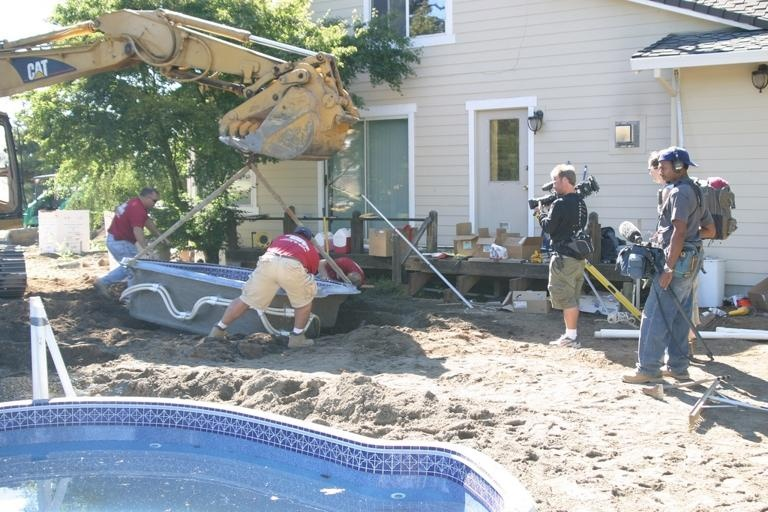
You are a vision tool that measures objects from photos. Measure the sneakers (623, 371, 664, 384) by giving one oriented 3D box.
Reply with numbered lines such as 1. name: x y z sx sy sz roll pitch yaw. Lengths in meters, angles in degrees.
1. sneakers: 3.374 1.524 13.815 0.466 0.225 0.191 4 3 16

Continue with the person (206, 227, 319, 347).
1. person: -1.814 0.488 15.925 0.763 1.768 1.391 39 30 27

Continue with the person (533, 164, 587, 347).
1. person: 2.590 -0.035 15.365 0.680 2.593 0.513 1 7 5

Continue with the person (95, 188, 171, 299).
1. person: -4.243 -0.273 18.185 1.057 1.996 0.893 16 24 -27

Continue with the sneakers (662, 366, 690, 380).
1. sneakers: 3.856 1.536 13.985 0.410 0.195 0.158 7 9 18

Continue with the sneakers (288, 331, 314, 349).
1. sneakers: -1.199 1.168 15.194 0.395 0.284 0.165 -5 8 -28

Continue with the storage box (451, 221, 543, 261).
1. storage box: 2.047 -0.304 18.750 1.579 0.553 1.169 3 8 19

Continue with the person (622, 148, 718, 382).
1. person: 3.742 0.107 13.806 1.097 3.047 0.494 -3 8 -27

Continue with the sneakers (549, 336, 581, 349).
1. sneakers: 2.628 1.228 15.360 0.436 0.202 0.166 3 -2 8

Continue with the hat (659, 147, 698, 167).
1. hat: 3.827 -1.316 13.793 0.412 0.225 0.295 1 5 -1

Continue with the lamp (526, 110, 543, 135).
1. lamp: 2.762 -2.462 19.252 0.292 0.419 0.162 3 7 20

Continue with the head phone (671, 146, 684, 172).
1. head phone: 3.814 -1.278 13.746 0.140 0.268 0.170 -1 7 -6

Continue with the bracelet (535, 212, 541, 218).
1. bracelet: 2.284 -0.630 15.656 0.070 0.049 0.101 -2 10 -15

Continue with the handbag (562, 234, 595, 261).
1. handbag: 2.860 -0.151 15.246 0.381 0.397 0.295 -2 -2 35
